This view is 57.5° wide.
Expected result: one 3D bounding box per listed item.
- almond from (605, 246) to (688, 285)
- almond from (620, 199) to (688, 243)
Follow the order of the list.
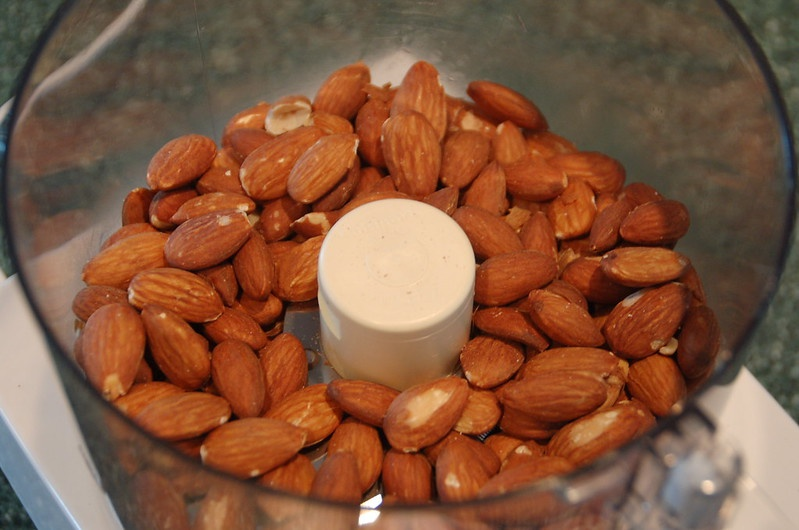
[{"bbox_3d":[0.504,0.001,1.503,0.177,0.058,0.092,-6,56,7],"label":"almond"},{"bbox_3d":[0.538,-0.085,1.531,0.129,0.076,0.082,-15,22,-11],"label":"almond"}]
